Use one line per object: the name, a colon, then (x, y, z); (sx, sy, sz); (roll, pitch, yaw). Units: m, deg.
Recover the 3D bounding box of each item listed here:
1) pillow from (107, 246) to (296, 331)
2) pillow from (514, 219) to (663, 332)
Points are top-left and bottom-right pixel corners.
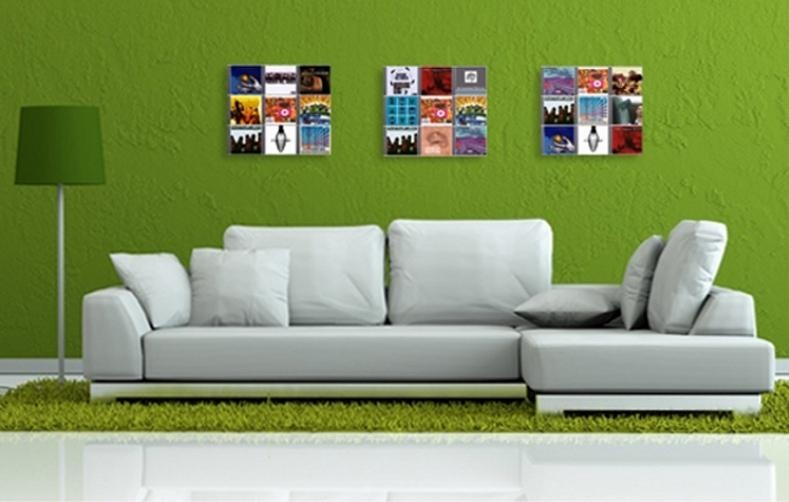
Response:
pillow: (-1.260, 0.255, 5.423); (0.890, 0.629, 0.324); (-6, -29, -1)
pillow: (1.356, 0.168, 5.356); (0.827, 0.536, 0.702); (0, -8, 15)
